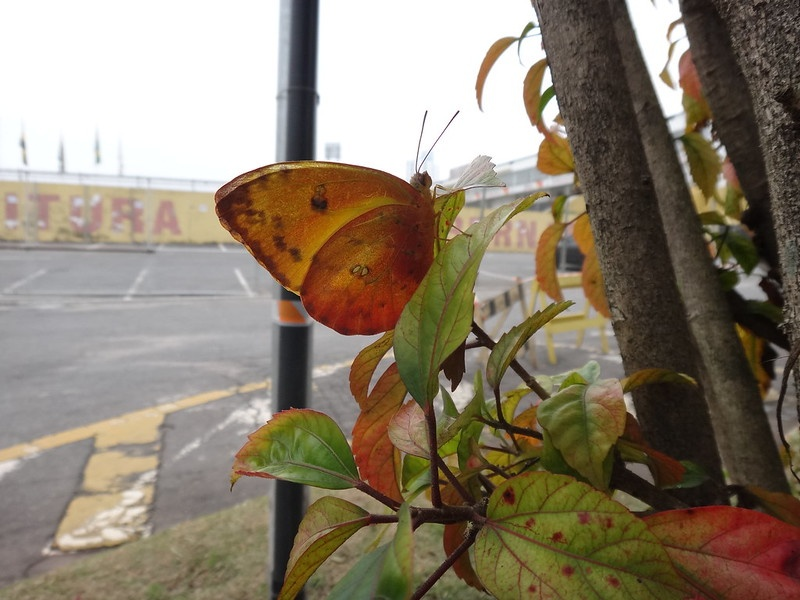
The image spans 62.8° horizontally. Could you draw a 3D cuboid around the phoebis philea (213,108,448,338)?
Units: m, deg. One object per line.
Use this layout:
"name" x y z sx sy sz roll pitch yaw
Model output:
"phoebis philea" -0.195 -0.118 1.802 0.519 0.492 0.554 -40 -2 5
